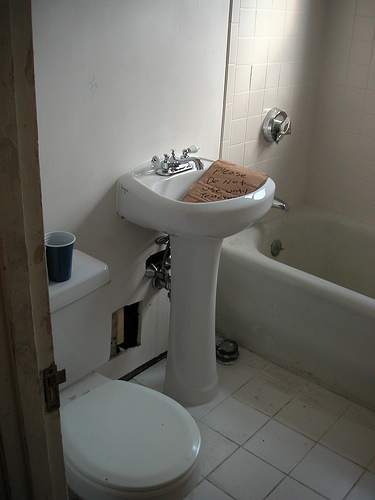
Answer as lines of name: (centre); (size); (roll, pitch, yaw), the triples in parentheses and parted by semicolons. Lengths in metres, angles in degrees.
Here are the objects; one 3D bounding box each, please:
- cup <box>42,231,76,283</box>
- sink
cup: (-0.312, 0.021, 0.906); (0.075, 0.099, 0.075); (5, 27, -2)
sink: (-0.006, -0.160, 1.282); (0.344, 0.204, 0.379); (22, 38, 28)
